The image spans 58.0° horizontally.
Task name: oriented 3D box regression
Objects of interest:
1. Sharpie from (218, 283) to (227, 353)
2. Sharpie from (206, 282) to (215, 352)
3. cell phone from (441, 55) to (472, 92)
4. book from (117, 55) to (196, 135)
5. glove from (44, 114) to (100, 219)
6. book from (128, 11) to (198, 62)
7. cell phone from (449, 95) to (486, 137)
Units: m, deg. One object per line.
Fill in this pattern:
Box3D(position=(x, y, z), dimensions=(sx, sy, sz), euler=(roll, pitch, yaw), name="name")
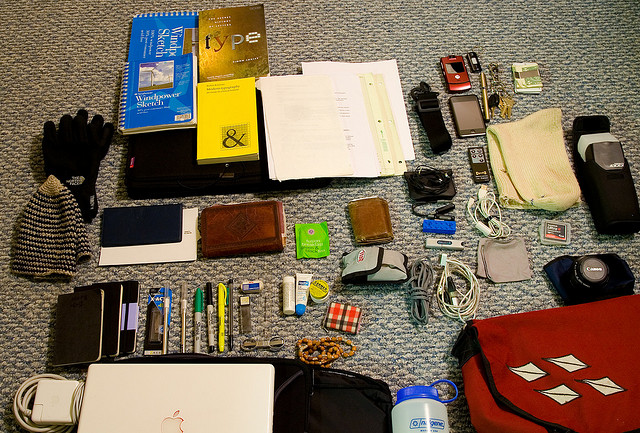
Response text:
Box3D(position=(-0.377, 0.382, 2.216), dimensions=(0.031, 0.026, 0.237), euler=(0, 71, -17), name="Sharpie")
Box3D(position=(-0.432, 0.383, 2.217), dimensions=(0.031, 0.030, 0.266), euler=(-1, 72, -18), name="Sharpie")
Box3D(position=(0.602, -0.631, 2.555), dimensions=(0.104, 0.050, 0.163), euler=(-11, 81, 0), name="cell phone")
Box3D(position=(-0.698, -0.509, 2.436), dimensions=(0.353, 0.082, 0.346), euler=(-5, 74, 4), name="book")
Box3D(position=(-1.003, -0.199, 2.343), dimensions=(0.244, 0.100, 0.392), euler=(-2, 78, -15), name="glove")
Box3D(position=(-0.685, -0.786, 2.528), dimensions=(0.294, 0.054, 0.260), euler=(-4, 74, 4), name="book")
Box3D(position=(0.640, -0.433, 2.500), dimensions=(0.123, 0.023, 0.192), euler=(-11, 74, 2), name="cell phone")
